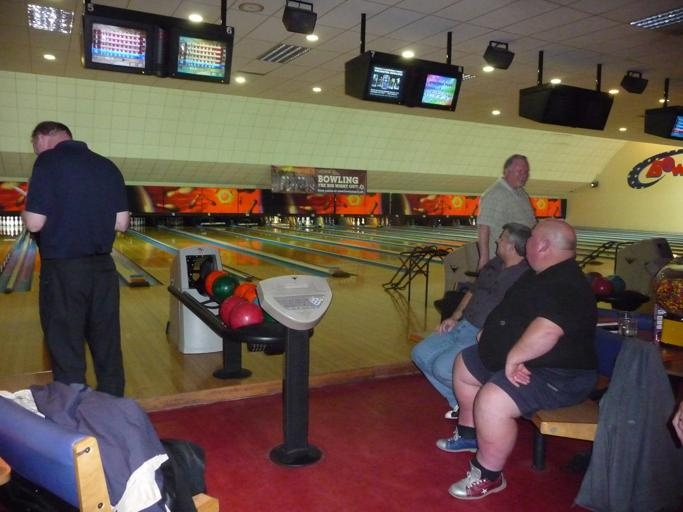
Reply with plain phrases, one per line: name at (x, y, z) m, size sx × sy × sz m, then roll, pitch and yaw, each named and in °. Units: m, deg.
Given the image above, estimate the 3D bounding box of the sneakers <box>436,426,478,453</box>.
sneakers at (0.545, 0.851, 2.333) m, size 0.240 × 0.100 × 0.085 m, roll -1°, pitch 1°, yaw 4°

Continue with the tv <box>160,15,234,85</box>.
tv at (-1.089, -1.573, 3.778) m, size 0.654 × 0.517 × 0.221 m, roll -4°, pitch 22°, yaw -31°

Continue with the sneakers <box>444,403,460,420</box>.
sneakers at (0.581, 0.811, 2.618) m, size 0.067 × 0.036 × 0.117 m, roll -4°, pitch -2°, yaw -35°

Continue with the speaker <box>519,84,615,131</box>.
speaker at (2.331, -1.562, 5.270) m, size 0.826 × 0.424 × 0.437 m, roll -2°, pitch 9°, yaw -23°

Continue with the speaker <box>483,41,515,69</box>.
speaker at (1.448, -1.874, 4.620) m, size 0.226 × 0.202 × 0.163 m, roll 5°, pitch 39°, yaw -16°

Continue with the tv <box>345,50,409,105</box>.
tv at (0.298, -1.518, 4.444) m, size 0.510 × 0.358 × 0.504 m, roll 5°, pitch -5°, yaw -14°

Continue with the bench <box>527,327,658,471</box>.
bench at (0.956, 0.538, 1.914) m, size 0.333 × 0.420 × 0.706 m, roll 0°, pitch 1°, yaw 18°

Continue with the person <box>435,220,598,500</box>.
person at (0.736, 0.404, 2.055) m, size 0.610 × 1.113 × 0.405 m, roll 3°, pitch 9°, yaw 11°

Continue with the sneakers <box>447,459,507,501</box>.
sneakers at (0.536, 0.891, 2.045) m, size 0.270 × 0.140 × 0.110 m, roll -5°, pitch 6°, yaw -9°

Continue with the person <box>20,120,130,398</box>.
person at (-1.165, 0.060, 2.271) m, size 0.457 × 1.310 × 0.324 m, roll -6°, pitch 12°, yaw -40°
